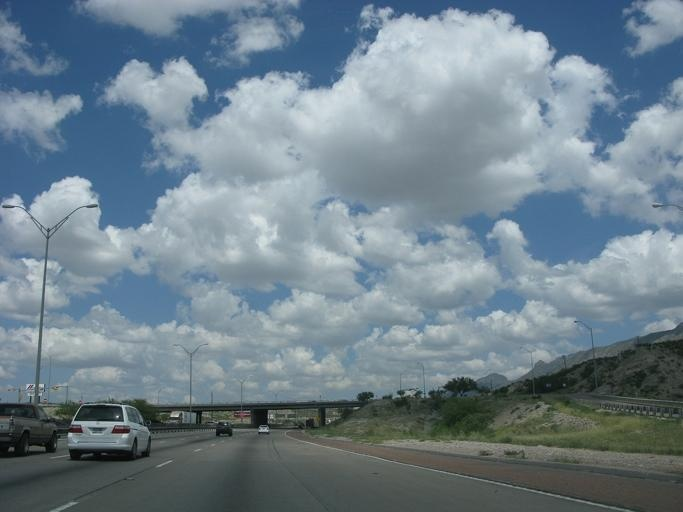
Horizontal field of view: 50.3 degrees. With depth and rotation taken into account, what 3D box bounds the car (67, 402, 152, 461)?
[{"bbox_3d":[-10.458,7.850,32.193,2.572,2.406,2.911,-4,-17,-2],"label":"car"}]
